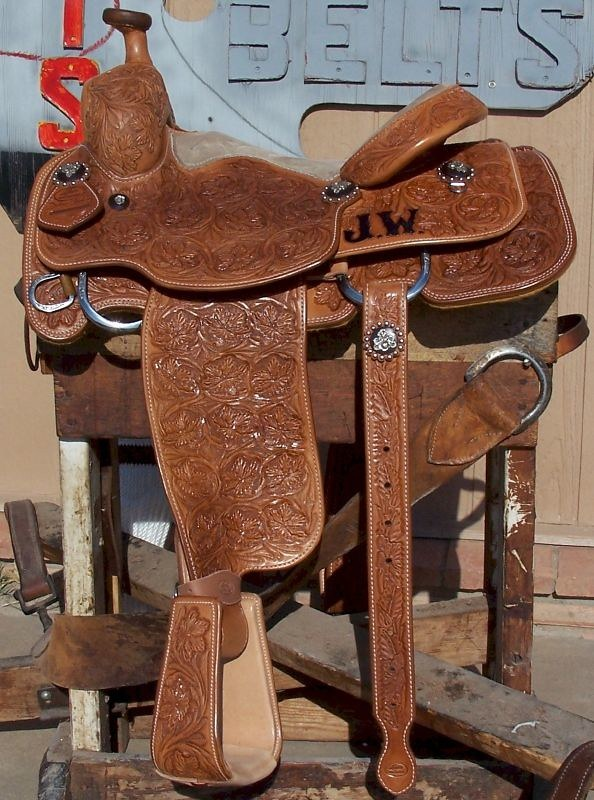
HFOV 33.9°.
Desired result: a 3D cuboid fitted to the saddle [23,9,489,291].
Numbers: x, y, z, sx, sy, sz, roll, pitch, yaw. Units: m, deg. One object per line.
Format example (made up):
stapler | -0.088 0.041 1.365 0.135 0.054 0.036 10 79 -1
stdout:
saddle | -0.078 -0.344 1.601 0.724 0.252 0.500 1 43 5
